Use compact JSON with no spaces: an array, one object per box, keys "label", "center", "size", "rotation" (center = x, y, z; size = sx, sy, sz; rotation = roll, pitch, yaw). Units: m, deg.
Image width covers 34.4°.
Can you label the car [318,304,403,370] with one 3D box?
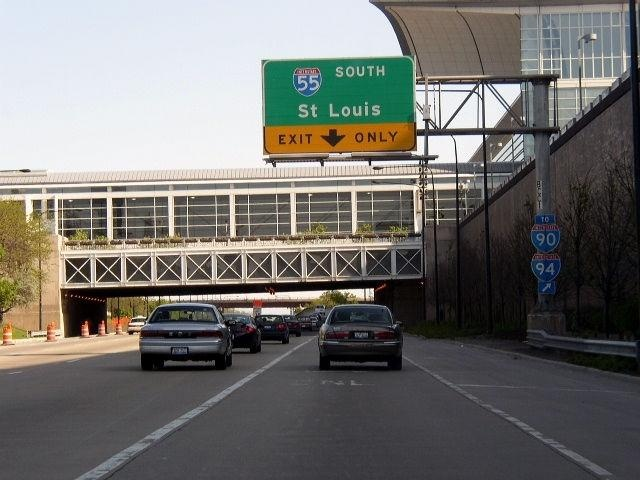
[{"label":"car","center":[1.203,3.066,31.362],"size":[2.463,1.958,1.338],"rotation":[0,1,-4]}]
